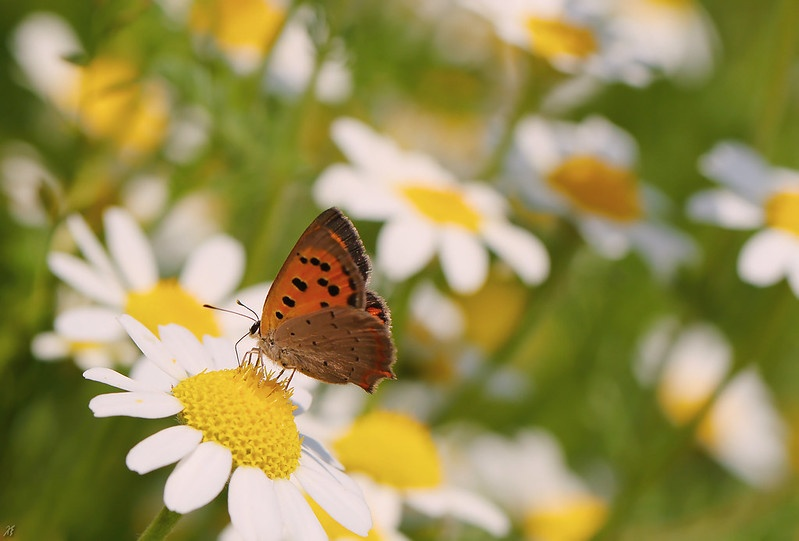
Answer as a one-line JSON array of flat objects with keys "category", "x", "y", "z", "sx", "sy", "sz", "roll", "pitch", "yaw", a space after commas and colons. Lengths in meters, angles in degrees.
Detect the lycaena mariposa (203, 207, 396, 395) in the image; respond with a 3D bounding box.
[{"category": "lycaena mariposa", "x": -0.131, "y": 0.058, "z": 1.129, "sx": 0.249, "sy": 0.269, "sz": 0.205, "roll": 13, "pitch": 81, "yaw": -19}]
